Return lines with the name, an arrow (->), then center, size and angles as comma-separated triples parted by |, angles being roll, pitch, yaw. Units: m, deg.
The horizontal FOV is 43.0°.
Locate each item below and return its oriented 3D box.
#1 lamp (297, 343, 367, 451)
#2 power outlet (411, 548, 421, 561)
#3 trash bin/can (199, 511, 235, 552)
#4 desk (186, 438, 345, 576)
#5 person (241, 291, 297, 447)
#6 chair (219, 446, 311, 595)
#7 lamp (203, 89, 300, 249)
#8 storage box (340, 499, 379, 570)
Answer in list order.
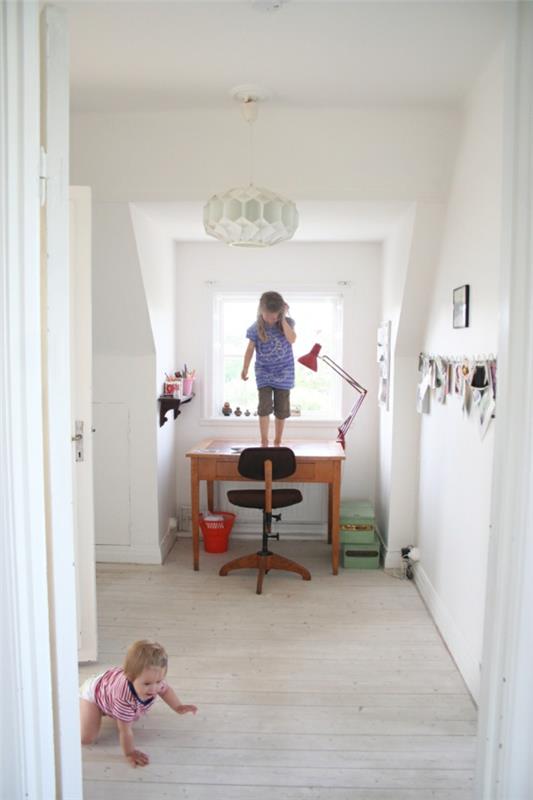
lamp -> 0.424, -0.007, 4.097 | 0.393, 0.665, 0.731 | 1, 5, 9
power outlet -> 0.787, 0.797, 3.486 | 0.040, 0.062, 0.060 | 0, -12, 8
trash bin/can -> -0.279, 0.783, 4.064 | 0.189, 0.191, 0.211 | -5, -4, 29
desk -> 0.013, 0.635, 3.988 | 0.861, 0.714, 0.685 | 1, 3, 10
person -> 0.017, -0.149, 3.782 | 0.286, 0.872, 0.571 | 0, 5, 3
chair -> 0.002, 0.594, 3.629 | 0.584, 0.996, 0.624 | 1, 4, 3
lamp -> -0.057, -0.874, 2.628 | 0.358, 0.533, 0.447 | 0, 5, -3
storage box -> 0.526, 0.765, 3.859 | 0.235, 0.316, 0.444 | -1, 7, 5
